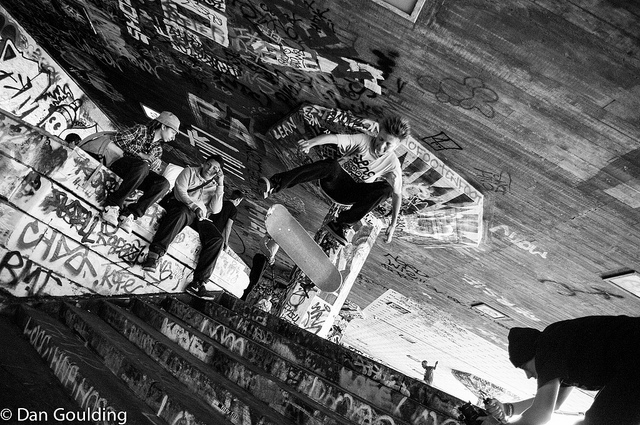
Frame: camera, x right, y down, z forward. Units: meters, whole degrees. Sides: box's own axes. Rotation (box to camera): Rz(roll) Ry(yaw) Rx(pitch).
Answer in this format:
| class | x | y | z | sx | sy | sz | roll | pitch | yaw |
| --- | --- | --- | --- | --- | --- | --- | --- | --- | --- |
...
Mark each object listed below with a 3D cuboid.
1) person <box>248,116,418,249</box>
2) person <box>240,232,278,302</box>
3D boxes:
| class | x | y | z | sx | sy | sz | roll | pitch | yaw |
| --- | --- | --- | --- | --- | --- | --- | --- | --- | --- |
| person | 0.266 | -0.474 | 8.682 | 1.502 | 1.549 | 0.854 | 44 | 2 | -8 |
| person | -1.003 | 0.860 | 9.729 | 0.233 | 1.515 | 0.402 | 10 | 38 | -33 |
